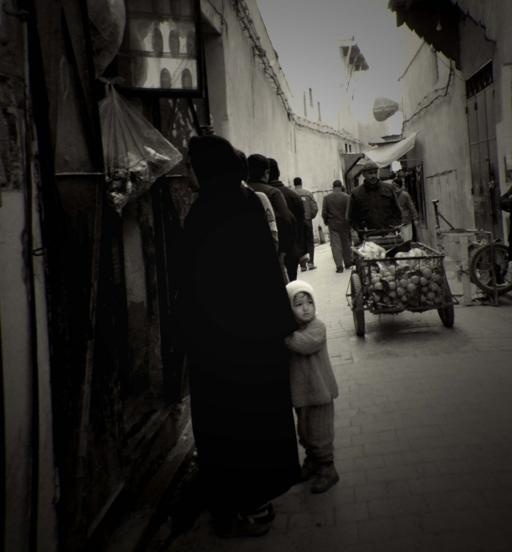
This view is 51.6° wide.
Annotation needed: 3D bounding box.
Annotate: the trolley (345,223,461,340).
[{"bbox_3d":[1.668,0.062,6.371,1.004,1.050,2.030,-3,8,8],"label":"trolley"}]
